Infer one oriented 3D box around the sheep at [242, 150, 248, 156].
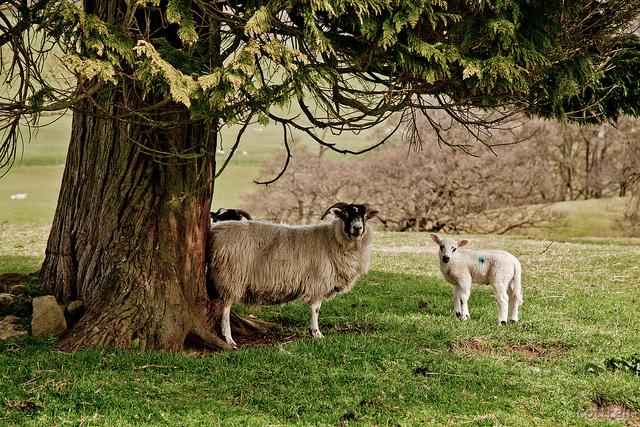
[{"bbox_3d":[-3.257,-2.675,57.258,0.251,0.207,0.258,7,-8,-42],"label":"sheep"}]
